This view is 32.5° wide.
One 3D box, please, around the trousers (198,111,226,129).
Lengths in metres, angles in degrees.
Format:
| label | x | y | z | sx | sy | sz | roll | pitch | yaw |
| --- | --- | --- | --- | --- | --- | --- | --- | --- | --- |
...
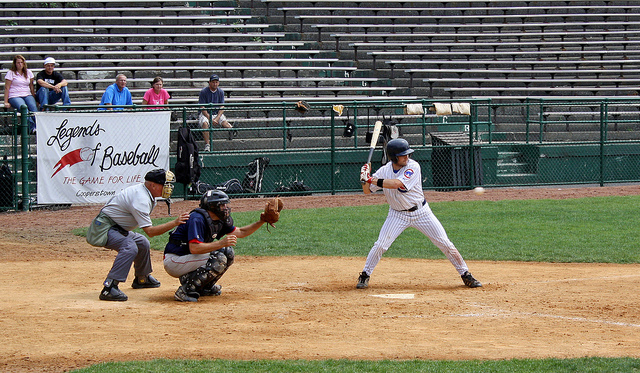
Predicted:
| label | x | y | z | sx | sy | sz | roll | pitch | yaw |
| --- | --- | --- | --- | --- | --- | --- | --- | --- | --- |
| trousers | -3.950 | -2.483 | 39.877 | 0.676 | 0.599 | 0.803 | 2 | 3 | 45 |

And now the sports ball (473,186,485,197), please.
| label | x | y | z | sx | sy | sz | roll | pitch | yaw |
| --- | --- | --- | --- | --- | --- | --- | --- | --- | --- |
| sports ball | 5.835 | 0.157 | 40.618 | 0.421 | 0.331 | 0.384 | 4 | -2 | 0 |

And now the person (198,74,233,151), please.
| label | x | y | z | sx | sy | sz | roll | pitch | yaw |
| --- | --- | --- | --- | --- | --- | --- | --- | --- | --- |
| person | -3.887 | -2.718 | 39.904 | 1.105 | 2.749 | 1.161 | -1 | 3 | -4 |

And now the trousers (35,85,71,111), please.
| label | x | y | z | sx | sy | sz | roll | pitch | yaw |
| --- | --- | --- | --- | --- | --- | --- | --- | --- | --- |
| trousers | -9.434 | -3.186 | 38.973 | 1.173 | 0.907 | 1.209 | -1 | 3 | -22 |

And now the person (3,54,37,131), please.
| label | x | y | z | sx | sy | sz | roll | pitch | yaw |
| --- | --- | --- | --- | --- | --- | --- | --- | --- | --- |
| person | -10.498 | -3.367 | 38.611 | 1.077 | 2.718 | 1.223 | -1 | 3 | -13 |

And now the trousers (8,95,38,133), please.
| label | x | y | z | sx | sy | sz | roll | pitch | yaw |
| --- | --- | --- | --- | --- | --- | --- | --- | --- | --- |
| trousers | -10.394 | -2.631 | 38.473 | 0.972 | 1.300 | 0.958 | -1 | 3 | -14 |

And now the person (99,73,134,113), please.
| label | x | y | z | sx | sy | sz | roll | pitch | yaw |
| --- | --- | --- | --- | --- | --- | --- | --- | --- | --- |
| person | -7.171 | -3.292 | 38.952 | 1.204 | 1.380 | 1.367 | 4 | 4 | -45 |

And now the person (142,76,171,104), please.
| label | x | y | z | sx | sy | sz | roll | pitch | yaw |
| --- | --- | --- | --- | --- | --- | --- | --- | --- | --- |
| person | -5.900 | -3.479 | 39.522 | 0.866 | 0.960 | 0.715 | -1 | 3 | -15 |

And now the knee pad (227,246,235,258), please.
| label | x | y | z | sx | sy | sz | roll | pitch | yaw |
| --- | --- | --- | --- | --- | --- | --- | --- | --- | --- |
| knee pad | -2.507 | 1.837 | 30.754 | 0.121 | 0.275 | 0.238 | -22 | -10 | 37 |
